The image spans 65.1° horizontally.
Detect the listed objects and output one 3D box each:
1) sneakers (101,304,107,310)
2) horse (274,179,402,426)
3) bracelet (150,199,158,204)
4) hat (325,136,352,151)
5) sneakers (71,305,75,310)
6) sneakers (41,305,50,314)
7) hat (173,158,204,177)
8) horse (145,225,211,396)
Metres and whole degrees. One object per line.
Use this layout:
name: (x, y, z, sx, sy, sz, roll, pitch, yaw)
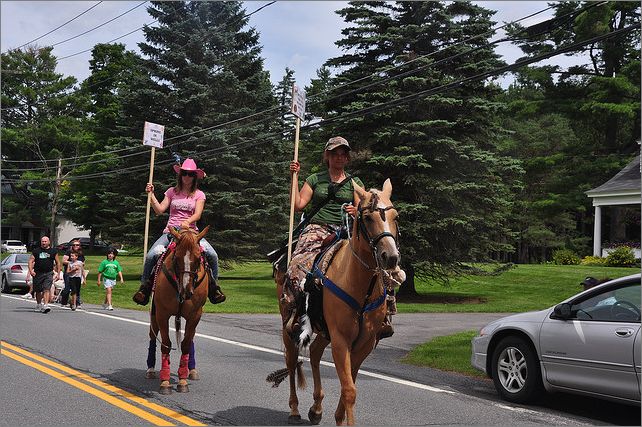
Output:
sneakers: (-8.294, 3.585, 19.303, 0.184, 0.229, 0.543, 6, -8, -28)
horse: (0.220, 1.329, 7.195, 1.146, 3.860, 2.415, 6, -6, -22)
bracelet: (-3.232, -0.237, 9.763, 0.105, 0.046, 0.115, 0, -14, 7)
hat: (0.272, -1.119, 8.149, 0.380, 0.315, 0.433, 4, -6, 0)
sneakers: (-9.158, 3.483, 18.633, 0.121, 0.285, 0.485, 3, -9, -24)
sneakers: (-9.648, 3.351, 17.670, 0.187, 0.223, 0.528, 3, -11, -27)
hat: (-2.550, -0.953, 9.930, 0.414, 0.192, 0.477, 10, -18, -6)
horse: (-2.618, 1.742, 9.290, 0.996, 3.016, 1.443, 5, -5, -17)
